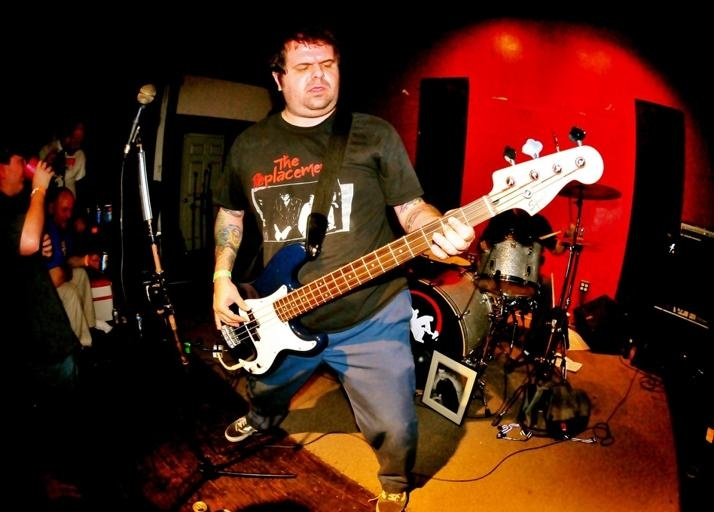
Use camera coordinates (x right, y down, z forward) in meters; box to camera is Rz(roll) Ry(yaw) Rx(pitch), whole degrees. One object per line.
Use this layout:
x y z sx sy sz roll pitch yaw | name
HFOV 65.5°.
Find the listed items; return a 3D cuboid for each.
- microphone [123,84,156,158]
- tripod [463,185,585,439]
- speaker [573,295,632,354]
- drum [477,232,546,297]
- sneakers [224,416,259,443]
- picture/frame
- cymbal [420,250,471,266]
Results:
-2.164 -1.424 5.553 0.235 0.898 0.115 14 23 -26 | microphone
1.940 0.736 6.465 1.820 2.592 1.810 -1 -37 27 | tripod
3.316 0.915 7.583 0.484 0.679 0.692 -3 20 14 | speaker
1.808 0.166 6.603 0.688 0.712 0.714 17 -25 -7 | drum
-1.187 1.772 5.667 0.435 0.189 0.188 -19 -11 -17 | sneakers
1.040 1.497 6.183 0.614 0.734 0.053 26 12 37 | picture/frame
1.149 -0.021 7.027 0.612 0.088 0.316 -1 27 -8 | cymbal
